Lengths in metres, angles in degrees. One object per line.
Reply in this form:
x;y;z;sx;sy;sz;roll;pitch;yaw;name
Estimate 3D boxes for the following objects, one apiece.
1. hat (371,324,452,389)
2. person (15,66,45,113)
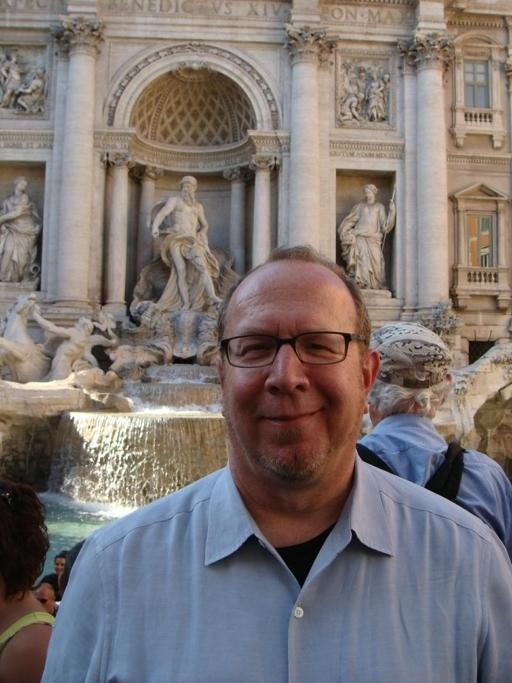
0.504;0.012;2.891;0.208;0.113;0.289;3;18;3;hat
-4.875;-5.435;18.656;0.642;1.020;0.335;1;-7;-6;person
